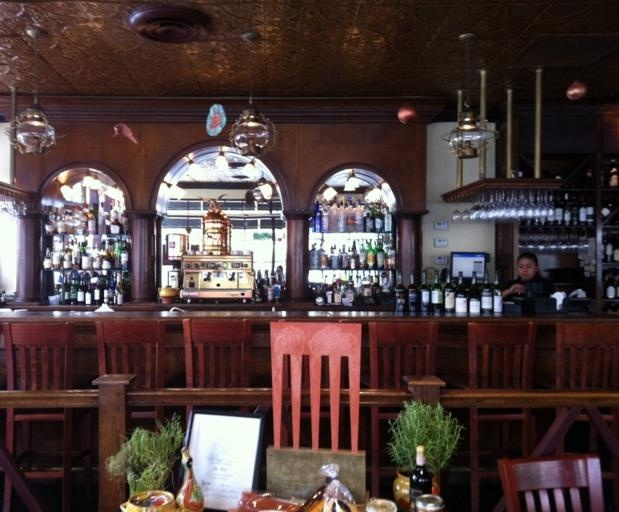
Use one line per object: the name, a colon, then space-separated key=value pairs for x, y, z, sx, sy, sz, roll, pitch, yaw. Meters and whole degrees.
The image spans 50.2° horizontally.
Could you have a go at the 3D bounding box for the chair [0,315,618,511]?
chair: x=0.004 y=0.891 z=3.691 sx=3.295 sy=1.096 sz=1.151 roll=-1 pitch=-3 yaw=-7

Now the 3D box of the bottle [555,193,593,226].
bottle: x=2.816 y=-0.515 z=7.037 sx=0.405 sy=0.391 sz=0.240 roll=-2 pitch=-3 yaw=10

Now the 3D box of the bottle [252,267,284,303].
bottle: x=-0.417 y=0.341 z=7.377 sx=0.313 sy=0.434 sz=0.394 roll=3 pitch=-5 yaw=-37

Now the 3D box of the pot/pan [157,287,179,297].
pot/pan: x=-1.460 y=0.377 z=6.898 sx=0.197 sy=0.109 sz=0.152 roll=0 pitch=-3 yaw=-21

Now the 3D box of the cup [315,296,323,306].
cup: x=0.112 y=0.471 z=6.923 sx=0.073 sy=0.065 sz=0.071 roll=2 pitch=-1 yaw=0
